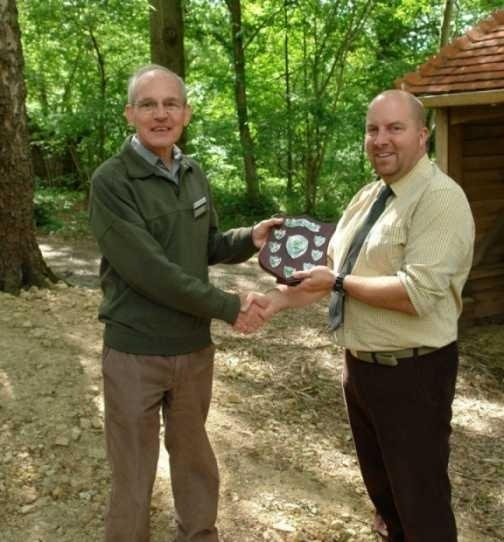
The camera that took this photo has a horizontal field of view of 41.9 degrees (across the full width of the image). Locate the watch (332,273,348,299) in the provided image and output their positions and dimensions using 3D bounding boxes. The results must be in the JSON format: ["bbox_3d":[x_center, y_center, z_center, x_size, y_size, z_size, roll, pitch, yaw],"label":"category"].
[{"bbox_3d":[0.439,0.073,3.272,0.079,0.100,0.116,1,-23,10],"label":"watch"}]
